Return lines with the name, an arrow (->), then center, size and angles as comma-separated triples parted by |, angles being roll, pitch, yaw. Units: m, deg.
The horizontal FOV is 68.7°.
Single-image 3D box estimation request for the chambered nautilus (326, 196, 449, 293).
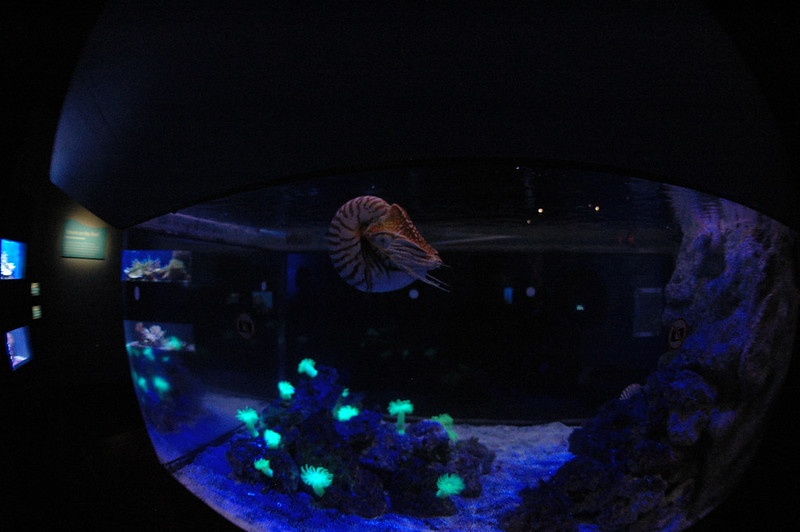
chambered nautilus -> -0.181, -0.248, 5.117 | 1.055, 0.755, 0.584 | 12, 21, 23
